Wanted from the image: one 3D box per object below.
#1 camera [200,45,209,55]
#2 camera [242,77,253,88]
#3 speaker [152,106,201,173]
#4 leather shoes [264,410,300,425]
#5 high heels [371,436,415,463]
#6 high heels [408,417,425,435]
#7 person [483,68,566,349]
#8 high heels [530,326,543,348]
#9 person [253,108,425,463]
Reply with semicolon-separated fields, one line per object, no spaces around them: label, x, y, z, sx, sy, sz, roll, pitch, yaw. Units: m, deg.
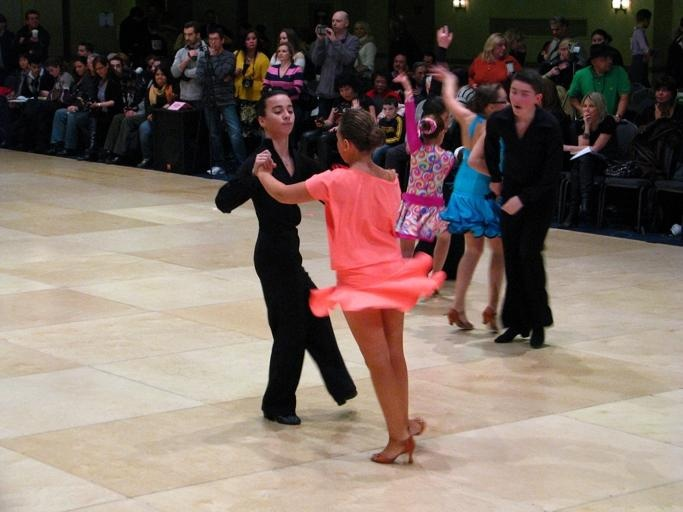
camera;-2.727;-4.043;13.518;0.051;0.166;0.164;-15;60;-46
camera;-1.912;-3.526;14.018;0.204;0.152;0.064;-1;6;2
speaker;-3.499;-2.405;14.388;1.115;1.322;0.409;6;15;22
leather shoes;-0.370;1.003;4.300;0.221;0.068;0.080;-1;-1;22
high heels;0.225;1.041;3.706;0.322;0.157;0.105;1;1;-1
high heels;0.423;0.973;3.917;0.054;0.053;0.156;1;6;12
person;1.509;-0.387;5.735;0.580;2.269;0.642;1;14;-1
high heels;1.642;0.680;5.771;0.086;0.184;0.082;7;-13;11
person;0.017;0.163;3.679;0.865;1.872;0.515;5;15;16
